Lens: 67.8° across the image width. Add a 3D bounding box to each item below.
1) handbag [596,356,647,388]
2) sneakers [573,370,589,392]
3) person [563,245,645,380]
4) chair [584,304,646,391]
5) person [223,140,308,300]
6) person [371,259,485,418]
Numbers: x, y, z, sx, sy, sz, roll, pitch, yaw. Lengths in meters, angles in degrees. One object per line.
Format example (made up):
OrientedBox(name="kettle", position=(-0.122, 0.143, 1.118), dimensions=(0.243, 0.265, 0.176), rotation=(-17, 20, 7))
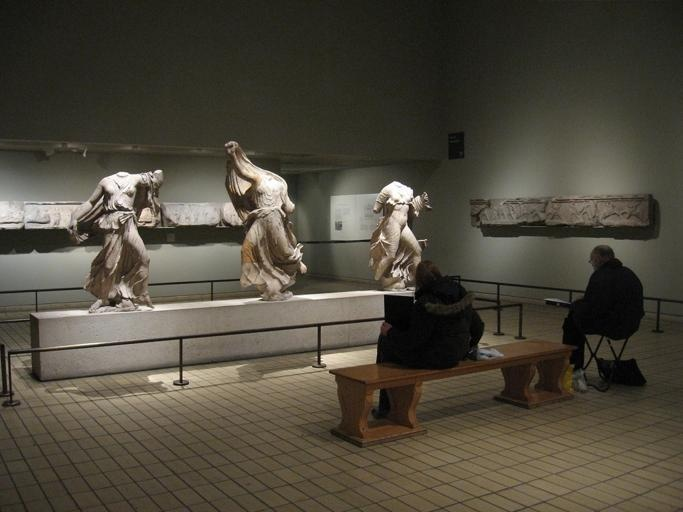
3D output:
OrientedBox(name="handbag", position=(3.812, 1.594, 6.920), dimensions=(0.406, 0.183, 0.505), rotation=(0, 2, -34))
OrientedBox(name="sneakers", position=(3.124, 1.649, 6.669), dimensions=(0.172, 0.319, 0.273), rotation=(0, -1, 2))
OrientedBox(name="person", position=(3.398, 0.803, 6.772), dimensions=(1.096, 1.875, 0.484), rotation=(-1, 4, -11))
OrientedBox(name="chair", position=(3.729, 1.447, 7.090), dimensions=(0.777, 0.557, 0.435), rotation=(3, -19, 13))
OrientedBox(name="person", position=(-1.356, -0.579, 8.912), dimensions=(1.290, 2.690, 0.456), rotation=(-1, 4, -13))
OrientedBox(name="person", position=(0.897, 1.013, 5.759), dimensions=(1.211, 1.771, 1.089), rotation=(6, 7, 29))
